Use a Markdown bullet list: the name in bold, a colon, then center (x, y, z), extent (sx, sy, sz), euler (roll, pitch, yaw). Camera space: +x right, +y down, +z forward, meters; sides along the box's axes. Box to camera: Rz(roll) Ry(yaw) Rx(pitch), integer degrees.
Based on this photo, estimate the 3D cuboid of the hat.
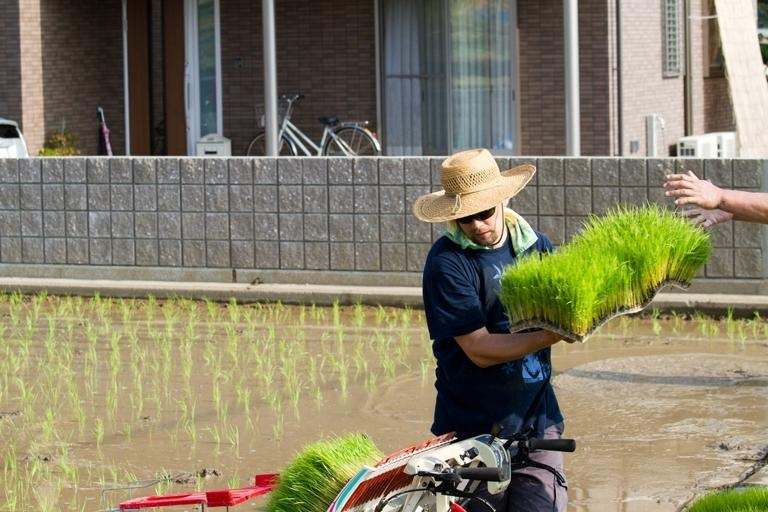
- **hat**: center (0.841, -0.664, 14.248), extent (0.714, 0.293, 0.762), euler (-22, 13, 30)
